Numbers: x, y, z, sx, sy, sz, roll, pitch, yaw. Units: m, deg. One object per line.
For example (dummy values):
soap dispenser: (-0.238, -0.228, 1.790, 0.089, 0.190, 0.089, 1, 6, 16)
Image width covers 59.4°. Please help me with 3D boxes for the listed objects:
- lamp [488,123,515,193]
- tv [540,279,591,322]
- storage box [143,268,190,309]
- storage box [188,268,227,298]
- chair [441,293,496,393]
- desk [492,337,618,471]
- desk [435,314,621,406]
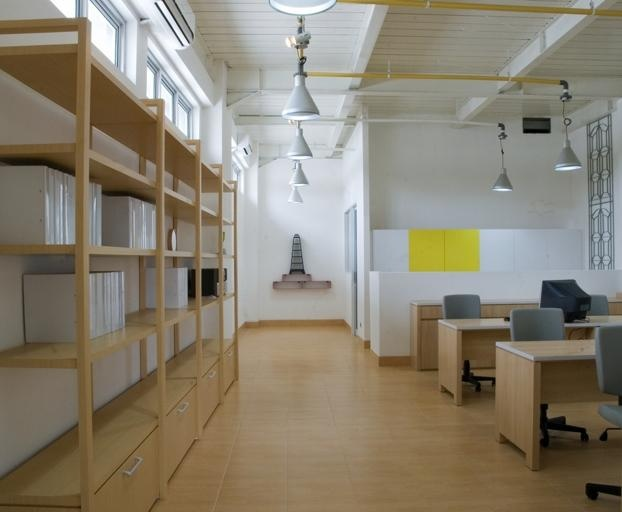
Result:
lamp: (2.956, -1.579, 8.474, 0.307, 1.127, 1.608, 1, 6, 19)
tv: (2.625, 0.449, 5.573, 0.539, 0.425, 0.300, 0, 0, -32)
storage box: (-1.294, 0.262, 4.989, 0.298, 0.459, 0.445, 0, 0, 7)
storage box: (-1.165, 0.288, 5.991, 0.469, 0.380, 0.269, 0, -4, -7)
chair: (1.852, 1.046, 6.634, 0.574, 1.103, 0.669, -7, -7, 30)
desk: (1.960, 1.018, 4.647, 1.086, 0.921, 0.800, -1, 4, -8)
desk: (1.939, 0.932, 4.891, 0.879, 0.461, 0.481, -2, 4, -15)
